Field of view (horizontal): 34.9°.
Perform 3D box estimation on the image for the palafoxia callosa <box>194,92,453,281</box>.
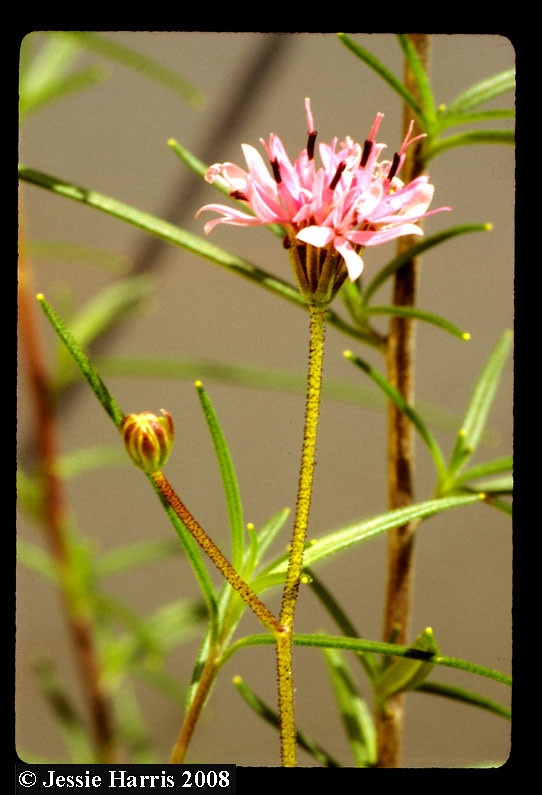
[{"bbox_3d":[0.025,-0.112,0.478,0.149,0.079,0.126,5,4,-41],"label":"palafoxia callosa"}]
